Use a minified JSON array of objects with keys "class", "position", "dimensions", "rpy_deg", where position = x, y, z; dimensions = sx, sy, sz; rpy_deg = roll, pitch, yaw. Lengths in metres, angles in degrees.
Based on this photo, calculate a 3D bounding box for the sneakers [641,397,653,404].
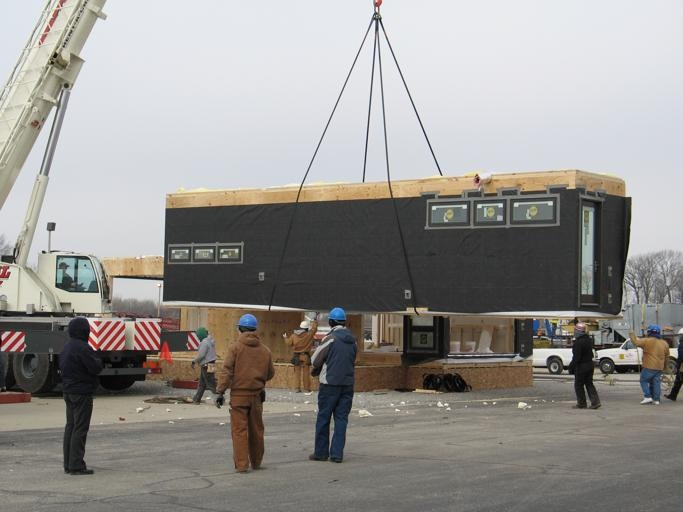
[{"class":"sneakers","position":[7.984,3.821,25.469],"dimensions":[0.362,0.170,0.133],"rpy_deg":[-13,-12,41]}]

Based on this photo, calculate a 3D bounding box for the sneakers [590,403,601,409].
[{"class":"sneakers","position":[6.289,3.722,24.003],"dimensions":[0.228,0.144,0.532],"rpy_deg":[-1,-4,16]}]

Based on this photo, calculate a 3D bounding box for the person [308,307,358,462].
[{"class":"person","position":[-0.169,2.186,16.545],"dimensions":[0.749,2.565,0.718],"rpy_deg":[-1,-4,12]}]

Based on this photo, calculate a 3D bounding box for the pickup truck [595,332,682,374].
[{"class":"pickup truck","position":[12.907,4.376,42.970],"dimensions":[3.042,1.527,1.944],"rpy_deg":[-1,-1,29]}]

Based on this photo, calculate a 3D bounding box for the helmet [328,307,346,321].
[{"class":"helmet","position":[-0.113,1.036,16.941],"dimensions":[0.287,0.199,0.354],"rpy_deg":[6,-5,-25]}]

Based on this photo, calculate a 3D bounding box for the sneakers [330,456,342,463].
[{"class":"sneakers","position":[-0.089,3.408,16.165],"dimensions":[0.196,0.104,0.074],"rpy_deg":[5,-4,9]}]

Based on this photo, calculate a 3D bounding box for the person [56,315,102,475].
[{"class":"person","position":[-4.191,2.215,15.436],"dimensions":[0.623,2.462,0.533],"rpy_deg":[1,-4,-17]}]

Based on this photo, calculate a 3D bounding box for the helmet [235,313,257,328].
[{"class":"helmet","position":[-1.595,1.105,16.270],"dimensions":[0.300,0.281,0.401],"rpy_deg":[0,6,-31]}]

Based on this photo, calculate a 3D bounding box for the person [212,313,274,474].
[{"class":"person","position":[-1.571,2.222,15.807],"dimensions":[0.969,2.498,0.613],"rpy_deg":[3,-5,-38]}]

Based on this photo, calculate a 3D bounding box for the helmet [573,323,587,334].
[{"class":"helmet","position":[5.974,1.814,24.206],"dimensions":[0.191,0.227,0.247],"rpy_deg":[3,5,16]}]
